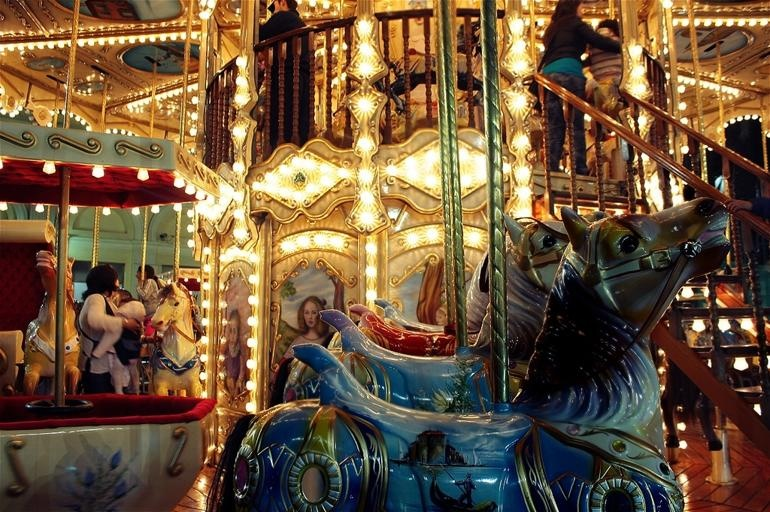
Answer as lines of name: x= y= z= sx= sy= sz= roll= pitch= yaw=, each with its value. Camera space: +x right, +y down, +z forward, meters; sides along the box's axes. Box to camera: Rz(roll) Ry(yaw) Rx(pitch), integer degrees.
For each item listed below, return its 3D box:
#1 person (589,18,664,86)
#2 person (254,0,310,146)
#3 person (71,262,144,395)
person: x=3.089 y=-2.631 z=11.825 sx=0.977 sy=0.932 sz=0.775 roll=1 pitch=18 yaw=9
person: x=-1.230 y=-2.258 z=11.083 sx=0.593 sy=1.705 sz=1.441 roll=-7 pitch=14 yaw=-6
person: x=-3.348 y=0.894 z=11.020 sx=0.570 sy=1.622 sz=0.751 roll=5 pitch=17 yaw=37
